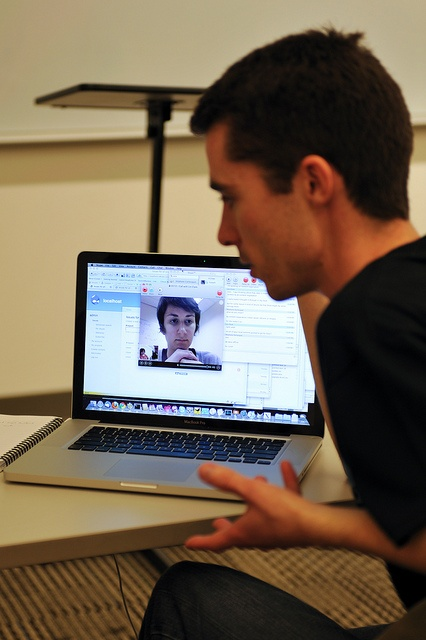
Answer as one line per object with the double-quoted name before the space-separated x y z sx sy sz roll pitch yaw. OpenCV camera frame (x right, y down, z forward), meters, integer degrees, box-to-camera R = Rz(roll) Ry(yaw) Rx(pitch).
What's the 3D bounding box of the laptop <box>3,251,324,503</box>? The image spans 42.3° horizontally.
"laptop" -0.054 0.058 0.725 0.391 0.254 0.300 2 11 8
